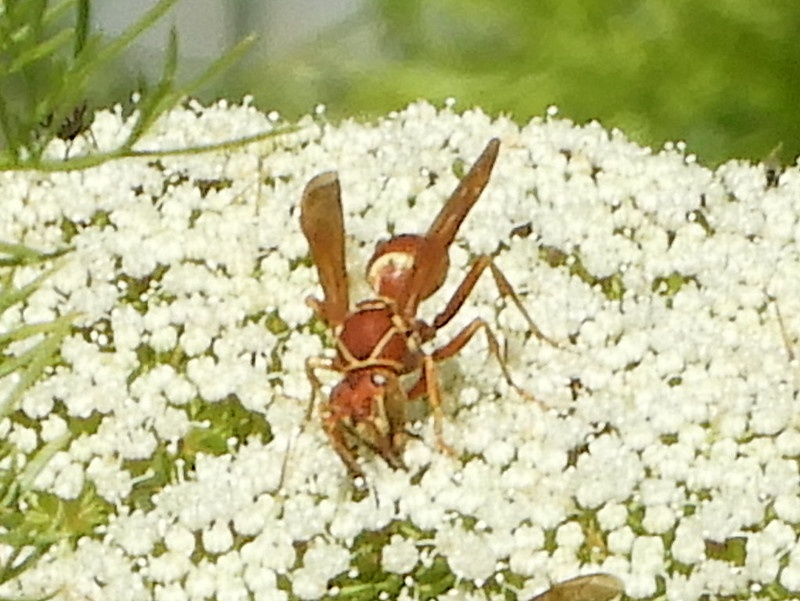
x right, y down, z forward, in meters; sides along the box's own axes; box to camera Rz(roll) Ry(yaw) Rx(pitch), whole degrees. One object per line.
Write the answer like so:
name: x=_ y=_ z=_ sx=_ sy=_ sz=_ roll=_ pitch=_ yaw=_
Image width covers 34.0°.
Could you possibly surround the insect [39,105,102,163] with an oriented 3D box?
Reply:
insect: x=-0.604 y=-0.309 z=2.492 sx=0.091 sy=0.027 sz=0.108 roll=5 pitch=89 yaw=5
